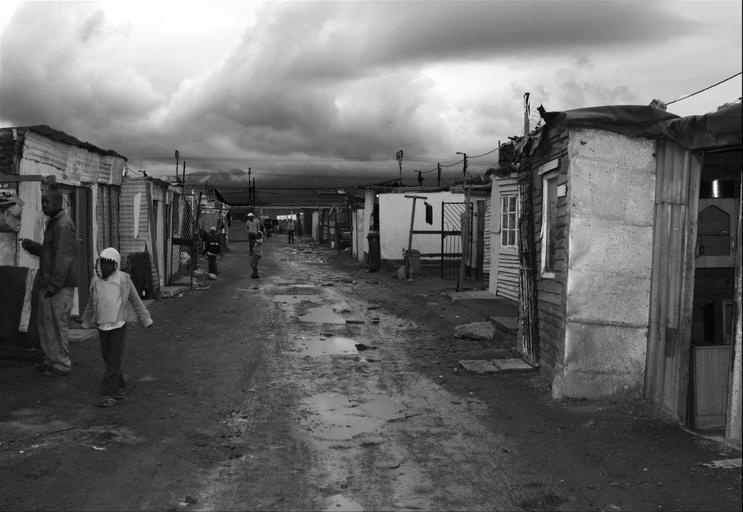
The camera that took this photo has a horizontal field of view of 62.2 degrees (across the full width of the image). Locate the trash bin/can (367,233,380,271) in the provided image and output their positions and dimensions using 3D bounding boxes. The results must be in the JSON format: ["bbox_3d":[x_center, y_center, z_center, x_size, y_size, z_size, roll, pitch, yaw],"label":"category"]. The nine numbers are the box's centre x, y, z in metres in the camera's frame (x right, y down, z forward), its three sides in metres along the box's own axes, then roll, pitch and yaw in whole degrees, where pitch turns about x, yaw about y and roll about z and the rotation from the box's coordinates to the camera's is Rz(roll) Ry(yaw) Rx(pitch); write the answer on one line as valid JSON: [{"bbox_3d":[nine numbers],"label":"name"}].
[{"bbox_3d":[0.085,-0.157,25.447,0.648,1.782,1.532,1,-2,-4],"label":"trash bin/can"}]

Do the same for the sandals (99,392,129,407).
[{"bbox_3d":[-3.677,2.031,8.711,0.128,0.163,0.376,-2,-12,7],"label":"sandals"}]

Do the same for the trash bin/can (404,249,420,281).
[{"bbox_3d":[1.486,0.261,22.407,0.555,1.044,0.777,2,11,4],"label":"trash bin/can"}]

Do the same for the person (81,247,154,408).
[{"bbox_3d":[-3.836,0.925,9.127,0.858,2.121,1.562,-4,12,-24],"label":"person"}]
